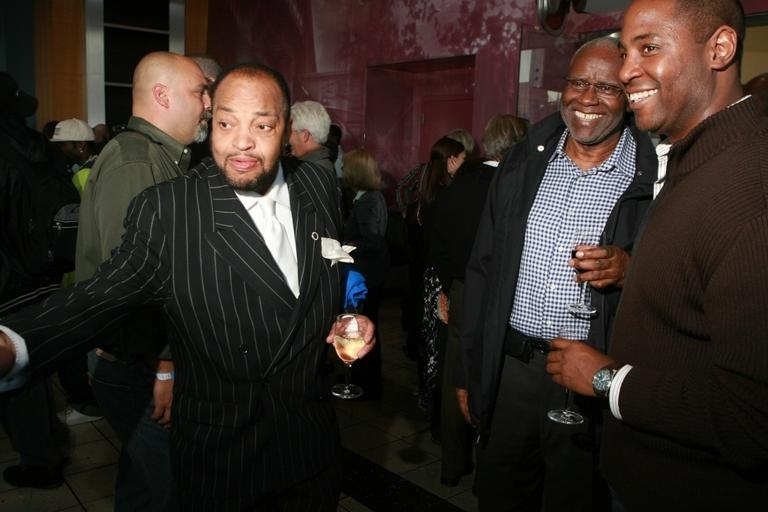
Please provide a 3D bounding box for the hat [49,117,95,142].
[{"bbox_3d":[-3.239,-1.310,5.866,0.365,0.195,0.266,-15,26,-42],"label":"hat"}]

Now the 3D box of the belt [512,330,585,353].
[{"bbox_3d":[0.687,0.345,2.312,0.192,0.076,0.151,6,-5,12],"label":"belt"}]

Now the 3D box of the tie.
[{"bbox_3d":[-0.376,-0.050,2.133,0.120,0.408,0.103,-18,-16,-15],"label":"tie"}]
